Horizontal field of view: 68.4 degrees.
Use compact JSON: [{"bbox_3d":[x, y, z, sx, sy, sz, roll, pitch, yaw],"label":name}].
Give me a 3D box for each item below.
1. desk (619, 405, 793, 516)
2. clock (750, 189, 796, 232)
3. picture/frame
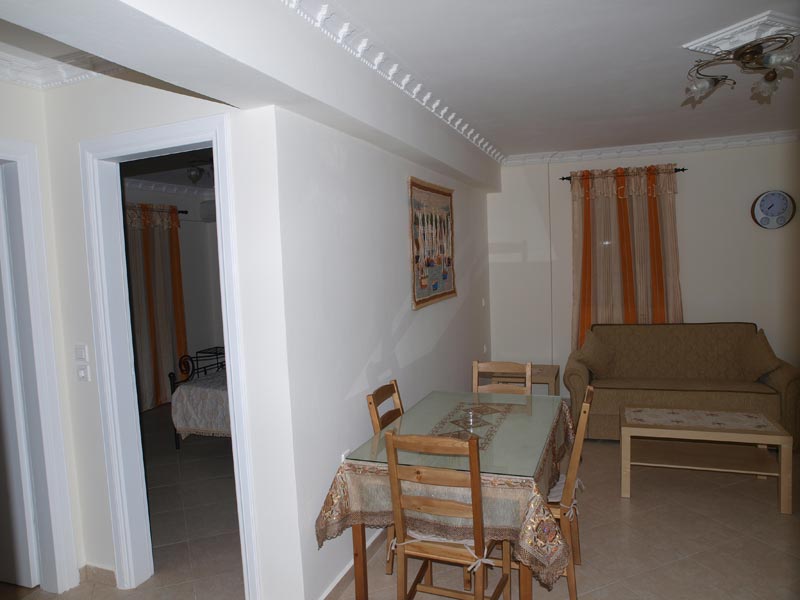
[{"bbox_3d":[2.430,1.205,4.754,1.274,0.548,0.780,0,10,17],"label":"desk"},{"bbox_3d":[3.857,-0.927,6.103,0.401,0.422,0.052,0,10,17],"label":"clock"},{"bbox_3d":[0.299,-0.510,5.194,0.075,1.069,1.188,0,6,22],"label":"picture/frame"}]
